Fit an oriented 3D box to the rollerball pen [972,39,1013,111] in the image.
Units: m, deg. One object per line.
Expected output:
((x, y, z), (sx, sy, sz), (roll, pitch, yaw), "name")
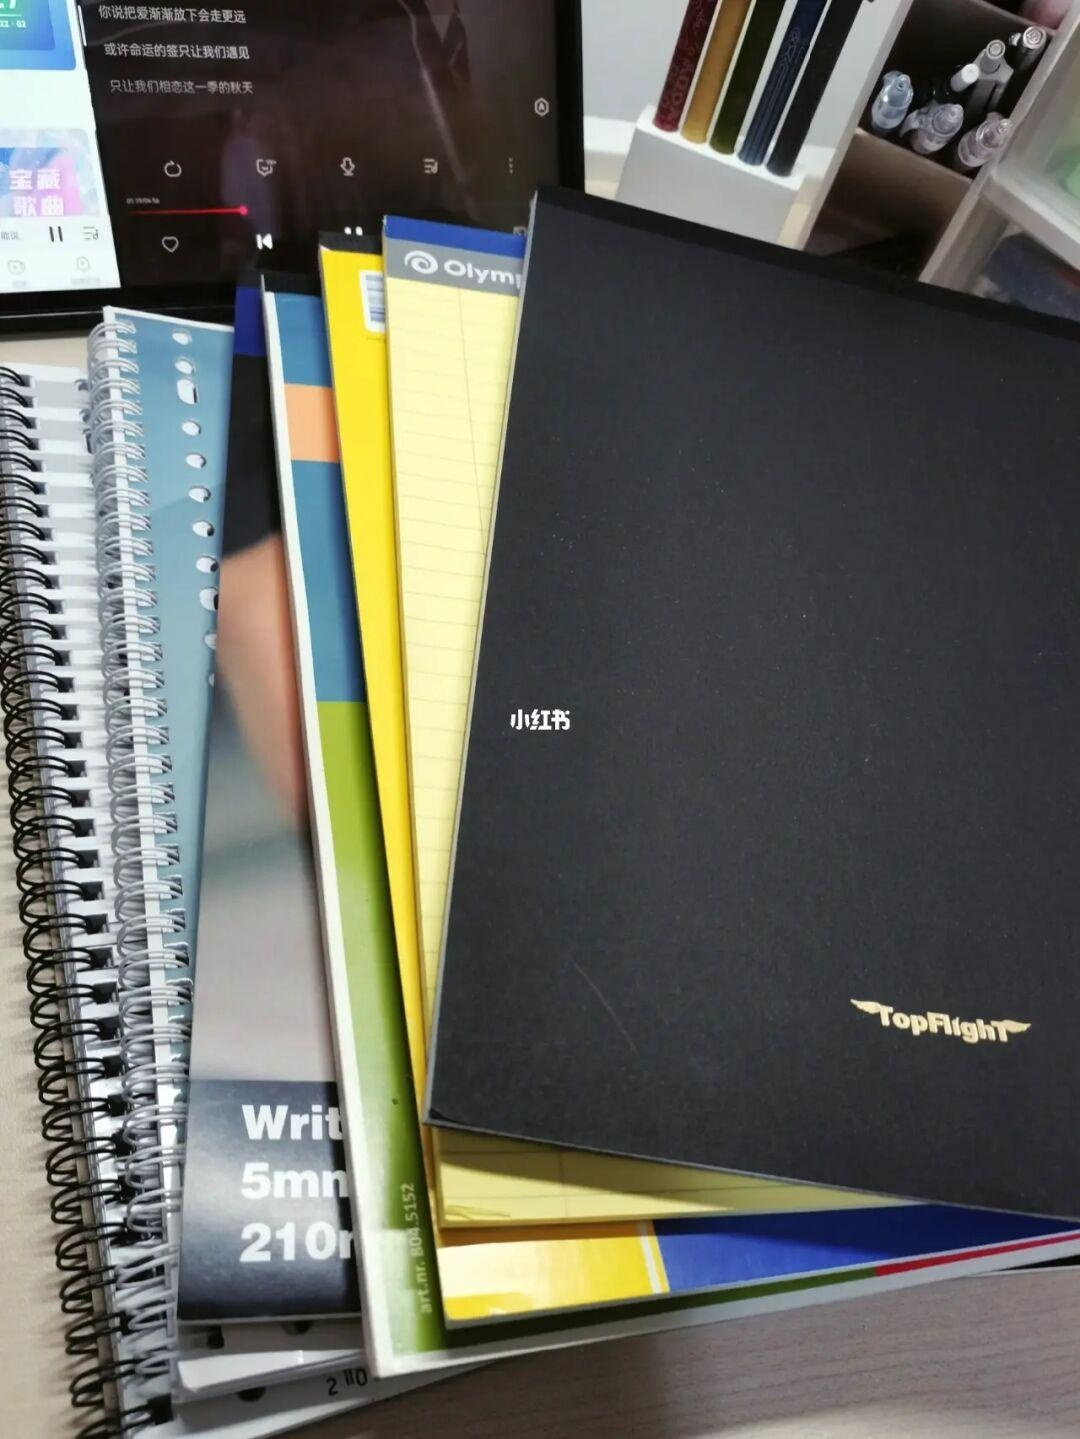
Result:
((0.290, -0.412, 0.760), (0.016, 0.061, 0.019), (-25, 82, 6), "rollerball pen")

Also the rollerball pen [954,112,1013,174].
((0.292, -0.377, 0.776), (0.011, 0.038, 0.012), (24, 98, 2), "rollerball pen")
